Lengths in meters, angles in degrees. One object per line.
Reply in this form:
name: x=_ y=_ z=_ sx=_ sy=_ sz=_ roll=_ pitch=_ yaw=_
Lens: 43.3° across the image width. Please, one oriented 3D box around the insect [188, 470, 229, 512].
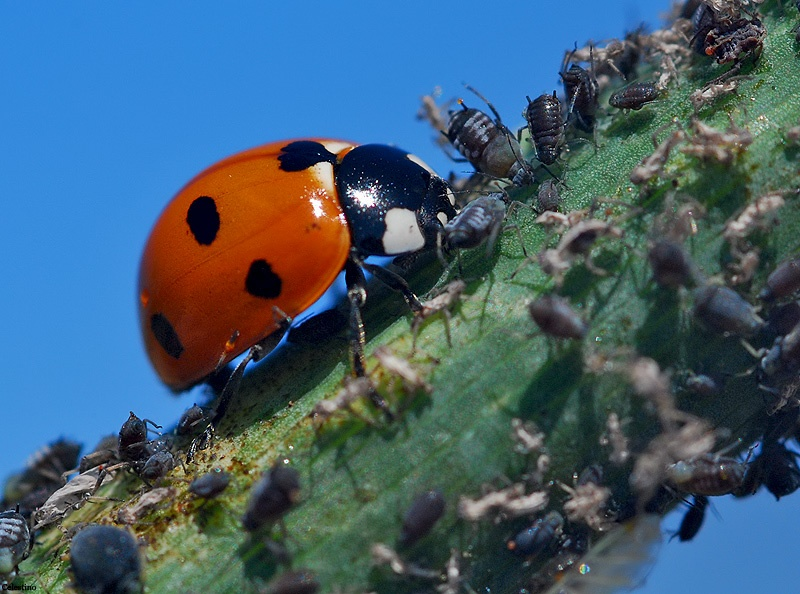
insect: x=-1.076 y=1.072 z=5.751 sx=0.228 sy=0.192 sz=0.148 roll=-36 pitch=-11 yaw=-17
